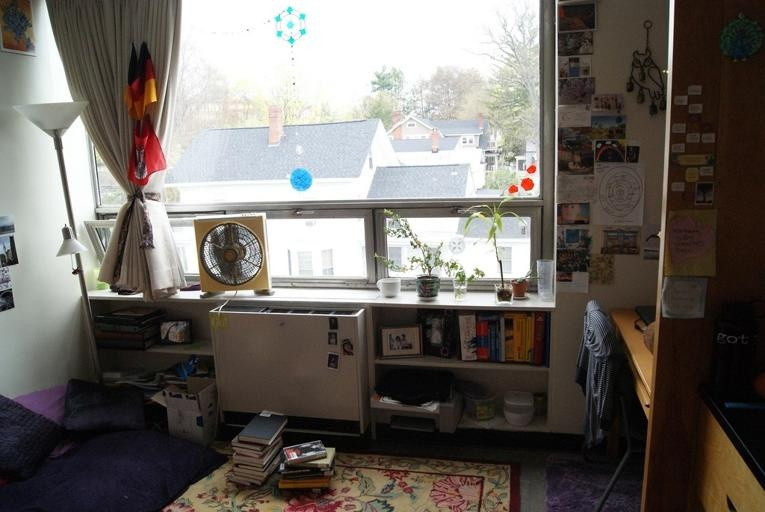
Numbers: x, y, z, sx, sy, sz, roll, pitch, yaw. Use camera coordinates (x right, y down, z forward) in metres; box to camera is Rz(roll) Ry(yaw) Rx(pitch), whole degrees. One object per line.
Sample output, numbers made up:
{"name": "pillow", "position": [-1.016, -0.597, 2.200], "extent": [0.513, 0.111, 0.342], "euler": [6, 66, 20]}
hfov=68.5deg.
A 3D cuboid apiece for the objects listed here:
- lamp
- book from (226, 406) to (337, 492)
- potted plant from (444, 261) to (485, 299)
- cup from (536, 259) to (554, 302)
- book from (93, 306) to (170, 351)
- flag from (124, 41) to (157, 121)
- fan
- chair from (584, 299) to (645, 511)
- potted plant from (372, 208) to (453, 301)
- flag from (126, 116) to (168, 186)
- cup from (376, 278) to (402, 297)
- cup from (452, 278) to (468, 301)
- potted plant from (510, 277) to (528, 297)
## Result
{"name": "lamp", "position": [-2.210, -0.042, 3.946], "extent": [0.404, 2.012, 0.540], "euler": [-6, 10, -27]}
{"name": "book", "position": [-0.614, 1.149, 3.351], "extent": [0.442, 0.154, 0.450], "euler": [2, 39, 4]}
{"name": "potted plant", "position": [0.555, 0.146, 3.807], "extent": [0.235, 0.227, 0.258], "euler": [4, 2, 23]}
{"name": "cup", "position": [1.059, 0.154, 3.648], "extent": [0.101, 0.250, 0.151], "euler": [1, 9, 11]}
{"name": "book", "position": [-1.901, 0.533, 4.211], "extent": [0.382, 0.192, 0.289], "euler": [2, 8, 12]}
{"name": "flag", "position": [-1.649, -1.205, 3.867], "extent": [0.227, 0.517, 0.092], "euler": [2, 9, 16]}
{"name": "fan", "position": [-1.034, -0.025, 4.030], "extent": [0.484, 0.539, 0.136], "euler": [3, 10, 1]}
{"name": "chair", "position": [1.265, 0.844, 3.125], "extent": [0.354, 1.162, 0.604], "euler": [3, 10, 24]}
{"name": "potted plant", "position": [0.249, -0.024, 4.053], "extent": [0.554, 0.655, 0.543], "euler": [-4, 1, 5]}
{"name": "flag", "position": [-1.661, -0.762, 3.956], "extent": [0.254, 0.577, 0.082], "euler": [-5, -21, -12]}
{"name": "cup", "position": [0.054, 0.208, 3.831], "extent": [0.135, 0.099, 0.112], "euler": [1, 6, 12]}
{"name": "cup", "position": [0.511, 0.214, 3.682], "extent": [0.136, 0.166, 0.115], "euler": [0, 1, -5]}
{"name": "potted plant", "position": [0.895, 0.206, 3.678], "extent": [0.100, 0.128, 0.081], "euler": [1, 9, 12]}
